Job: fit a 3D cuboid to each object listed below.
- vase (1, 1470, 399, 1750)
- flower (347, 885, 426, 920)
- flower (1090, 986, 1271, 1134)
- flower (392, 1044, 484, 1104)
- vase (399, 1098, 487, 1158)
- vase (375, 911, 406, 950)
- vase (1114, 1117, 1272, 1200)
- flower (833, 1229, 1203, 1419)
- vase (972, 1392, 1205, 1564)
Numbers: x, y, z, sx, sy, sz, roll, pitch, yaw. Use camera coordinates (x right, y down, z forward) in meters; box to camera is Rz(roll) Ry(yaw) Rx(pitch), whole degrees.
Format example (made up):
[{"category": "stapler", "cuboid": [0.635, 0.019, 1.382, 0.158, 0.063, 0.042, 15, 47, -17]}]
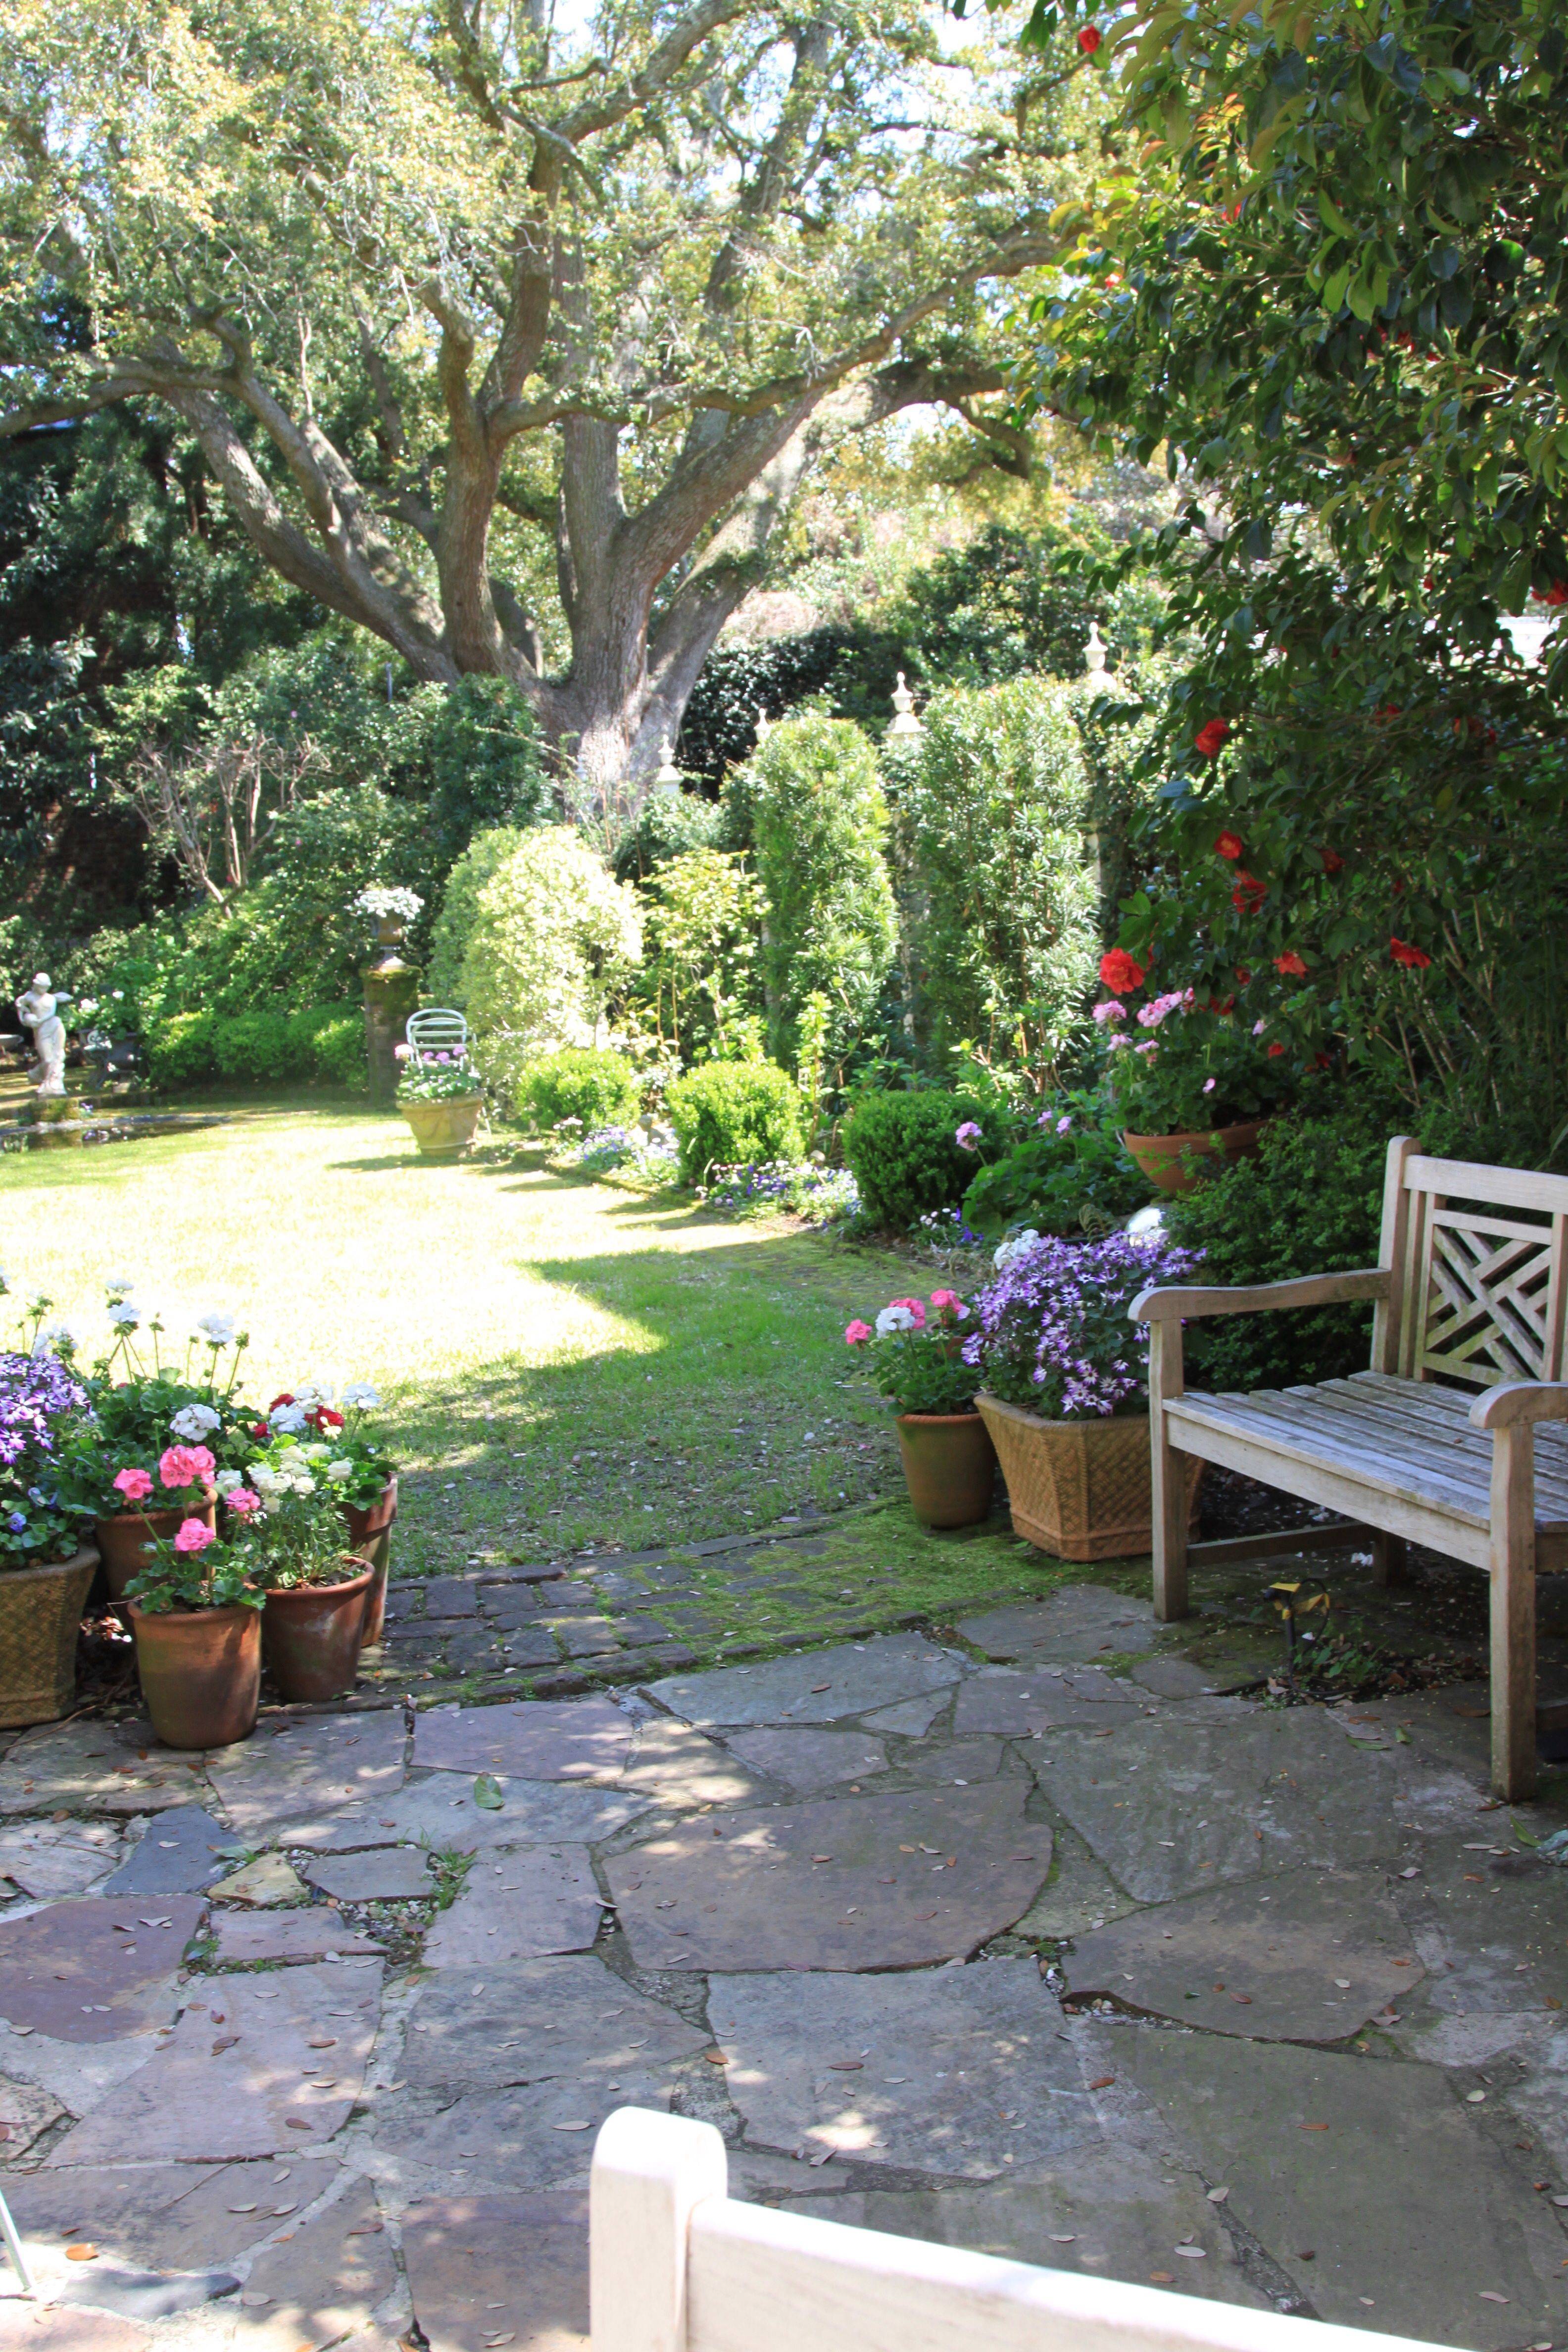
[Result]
[{"category": "vase", "cuboid": [-1.101, 0.774, 3.813, 0.526, 0.266, 0.645, 5, 11, 28]}, {"category": "flower", "cuboid": [-3.554, -2.417, 17.362, 0.545, 0.286, 0.521, 3, 7, -1]}, {"category": "flower", "cuboid": [1.119, -0.342, 5.535, 0.456, 0.347, 0.510, 3, 11, 20]}, {"category": "flower", "cuboid": [-2.459, -0.711, 13.992, 0.578, 0.336, 0.613, -1, 8, -4]}, {"category": "vase", "cuboid": [-2.337, -0.354, 13.472, 0.501, 0.412, 0.580, -5, 7, -10]}, {"category": "vase", "cuboid": [-3.612, -2.238, 17.865, 0.325, 0.324, 0.315, 0, 7, 6]}, {"category": "vase", "cuboid": [1.101, -0.067, 5.374, 0.274, 0.140, 0.257, -4, 3, -26]}, {"category": "flower", "cuboid": [0.540, 0.374, 4.690, 0.624, 0.307, 0.534, -6, 6, 11]}, {"category": "vase", "cuboid": [0.719, 0.656, 4.595, 0.410, 0.293, 0.429, -2, 3, -13]}]
